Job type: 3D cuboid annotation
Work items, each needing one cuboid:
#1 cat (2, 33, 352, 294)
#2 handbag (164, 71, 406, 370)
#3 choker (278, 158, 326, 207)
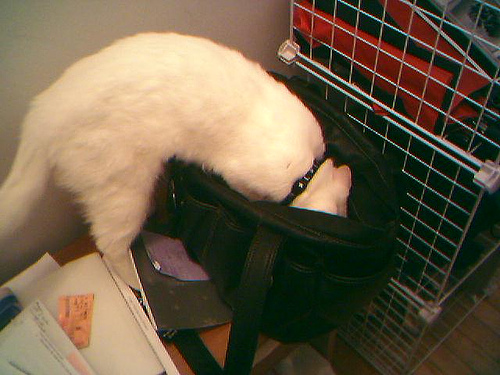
[{"bbox_3d":[-0.046,-0.091,1.206,1.003,0.514,0.444,6,46,-17],"label":"cat"},{"bbox_3d":[0.098,0.117,1.021,0.490,0.228,0.549,-13,58,-11],"label":"handbag"},{"bbox_3d":[0.130,-0.017,1.099,0.027,0.081,0.116,38,80,0],"label":"choker"}]
